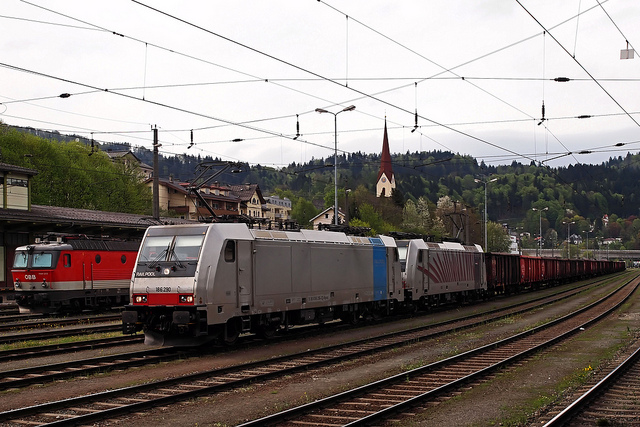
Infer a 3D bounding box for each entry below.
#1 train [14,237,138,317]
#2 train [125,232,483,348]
[{"bbox_3d":[-14.232,3.734,41.291,3.381,4.244,12.547,-3,-5,11],"label":"train"},{"bbox_3d":[-0.083,3.223,34.334,3.479,4.181,24.342,-10,-8,27],"label":"train"}]
